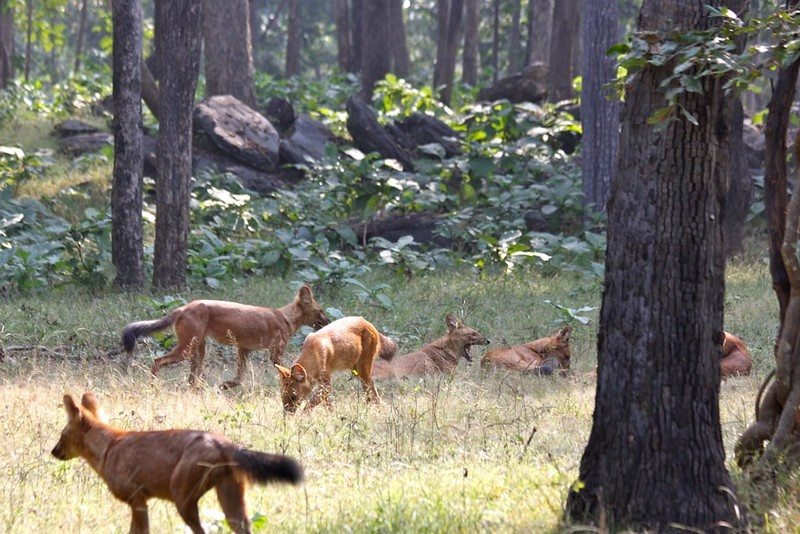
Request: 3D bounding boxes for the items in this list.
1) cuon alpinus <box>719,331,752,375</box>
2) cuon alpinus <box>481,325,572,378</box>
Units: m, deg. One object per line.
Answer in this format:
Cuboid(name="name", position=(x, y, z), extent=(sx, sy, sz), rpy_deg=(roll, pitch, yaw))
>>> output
Cuboid(name="cuon alpinus", position=(6.775, 1.822, 28.017), extent=(0.410, 0.440, 0.872), rpy_deg=(-9, 47, 10))
Cuboid(name="cuon alpinus", position=(2.690, 1.808, 29.028), extent=(2.046, 1.284, 0.855), rpy_deg=(-1, -3, -17))
